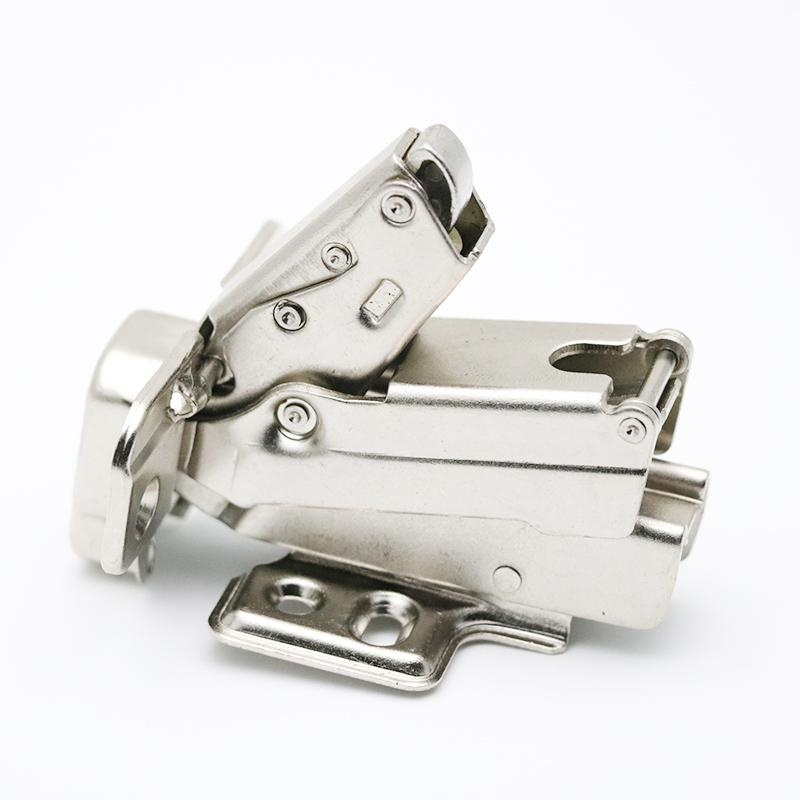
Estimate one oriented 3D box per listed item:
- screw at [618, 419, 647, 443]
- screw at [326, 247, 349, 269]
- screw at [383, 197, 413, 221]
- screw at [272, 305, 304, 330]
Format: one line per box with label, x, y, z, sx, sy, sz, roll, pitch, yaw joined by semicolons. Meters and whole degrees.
screw;0.385;0.051;1.634;0.043;0.013;0.040;21;-52;-12
screw;-0.102;-0.236;1.657;0.038;0.009;0.040;3;-50;3
screw;-0.002;-0.308;1.603;0.050;0.006;0.048;-1;-50;6
screw;-0.193;-0.143;1.717;0.045;0.012;0.043;3;-74;3
